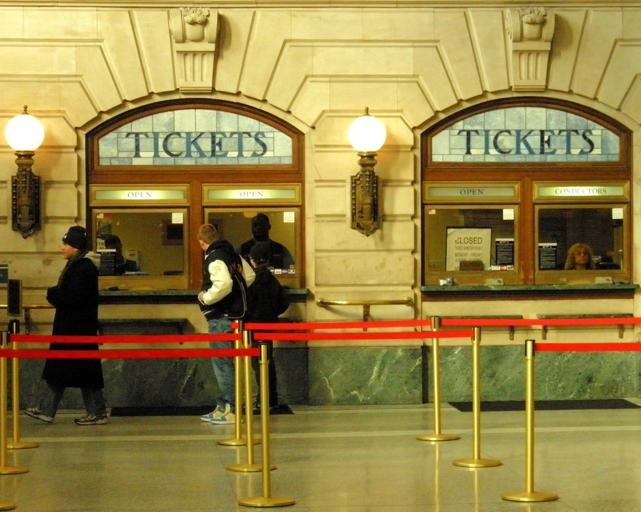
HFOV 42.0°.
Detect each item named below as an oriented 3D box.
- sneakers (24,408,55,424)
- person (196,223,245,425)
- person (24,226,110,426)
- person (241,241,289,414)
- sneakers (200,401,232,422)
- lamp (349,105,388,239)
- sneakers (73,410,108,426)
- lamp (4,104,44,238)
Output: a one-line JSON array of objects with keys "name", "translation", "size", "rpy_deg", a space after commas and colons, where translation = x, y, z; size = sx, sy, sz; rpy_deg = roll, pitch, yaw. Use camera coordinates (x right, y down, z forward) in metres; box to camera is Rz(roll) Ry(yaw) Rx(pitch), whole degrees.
[{"name": "sneakers", "translation": [-3.224, 1.833, 9.541], "size": [0.347, 0.140, 0.116], "rpy_deg": [22, -7, -7]}, {"name": "person", "translation": [-1.140, 0.771, 9.568], "size": [0.539, 2.317, 0.726], "rpy_deg": [-1, -6, -5]}, {"name": "person", "translation": [-2.825, 0.772, 9.549], "size": [0.793, 2.321, 0.742], "rpy_deg": [2, -6, -30]}, {"name": "person", "translation": [-0.669, 0.847, 10.217], "size": [0.545, 2.139, 1.167], "rpy_deg": [-1, -5, -5]}, {"name": "sneakers", "translation": [-1.231, 1.843, 9.760], "size": [0.498, 0.205, 0.173], "rpy_deg": [-1, -7, 40]}, {"name": "lamp", "translation": [0.588, -1.016, 10.662], "size": [0.438, 1.482, 0.460], "rpy_deg": [-1, -6, -1]}, {"name": "sneakers", "translation": [-2.659, 1.881, 9.628], "size": [0.381, 0.150, 0.141], "rpy_deg": [3, -7, -4]}, {"name": "lamp", "translation": [-3.740, -0.996, 10.454], "size": [0.422, 1.501, 0.476], "rpy_deg": [0, -6, -18]}]
